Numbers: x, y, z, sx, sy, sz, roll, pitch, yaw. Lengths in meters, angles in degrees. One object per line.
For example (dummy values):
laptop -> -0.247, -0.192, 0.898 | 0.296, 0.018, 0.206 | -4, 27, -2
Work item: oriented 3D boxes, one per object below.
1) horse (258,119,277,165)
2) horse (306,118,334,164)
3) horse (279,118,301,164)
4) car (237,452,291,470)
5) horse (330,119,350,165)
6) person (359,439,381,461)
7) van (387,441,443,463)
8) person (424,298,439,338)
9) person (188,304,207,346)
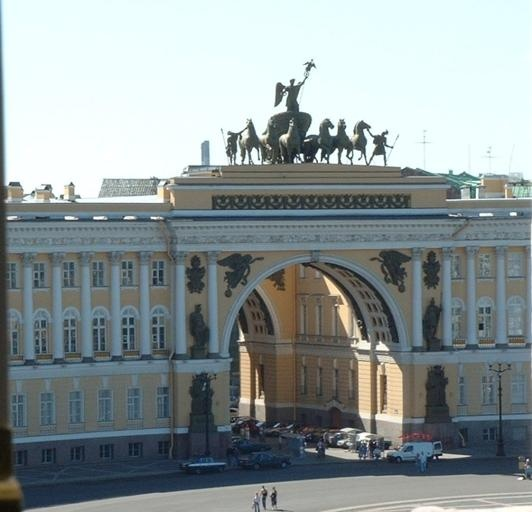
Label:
horse -> 0.112, -6.110, 95.356 | 0.416, 2.301, 1.419 | -2, 7, -29
horse -> 2.725, -6.103, 94.767 | 1.378, 2.256, 0.499 | 4, 7, 26
horse -> 1.303, -6.068, 94.336 | 0.980, 2.313, 1.604 | 0, 6, -10
car -> 0.004, 10.263, 90.105 | 2.176, 0.738, 0.989 | -4, 5, -19
horse -> 3.931, -6.106, 95.920 | 0.770, 2.503, 3.173 | -7, 2, -9
person -> 5.422, 10.349, 93.816 | 1.388, 1.429, 0.802 | 3, -10, -19
van -> 7.663, 10.008, 91.884 | 2.439, 0.887, 1.168 | 1, -4, -7
person -> 8.750, 3.248, 95.228 | 0.869, 2.036, 0.555 | 0, 6, -9
person -> -3.417, 3.568, 91.558 | 0.984, 2.166, 0.596 | 1, 6, -3
